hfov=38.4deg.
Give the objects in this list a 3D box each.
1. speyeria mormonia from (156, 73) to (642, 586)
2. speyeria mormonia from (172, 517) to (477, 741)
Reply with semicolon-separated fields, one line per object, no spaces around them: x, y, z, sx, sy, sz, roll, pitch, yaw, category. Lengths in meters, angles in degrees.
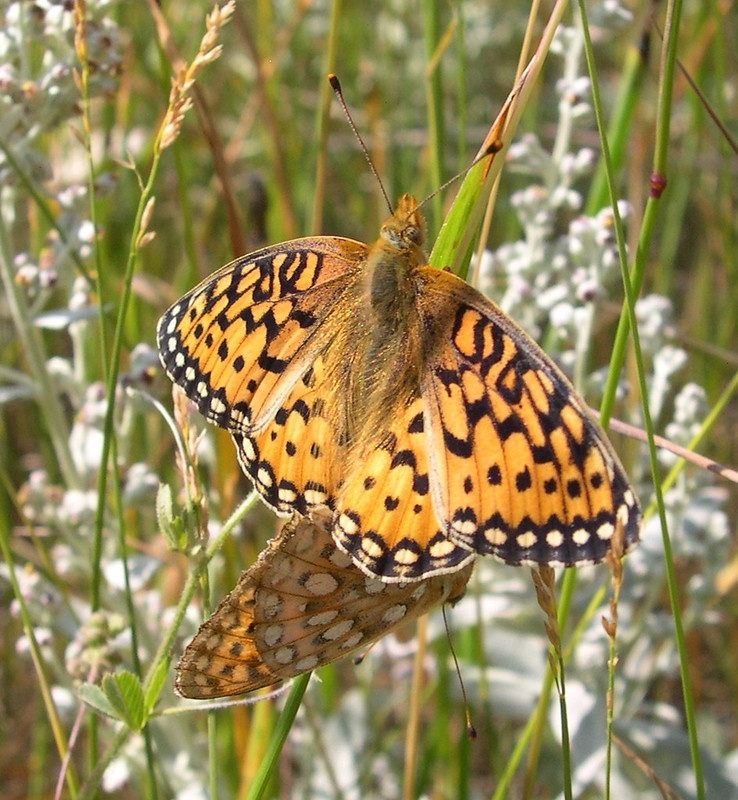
0.010;0.020;1.437;0.433;0.287;0.687;-27;66;-10;speyeria mormonia
-0.099;0.209;1.373;0.187;0.351;0.312;19;93;24;speyeria mormonia
